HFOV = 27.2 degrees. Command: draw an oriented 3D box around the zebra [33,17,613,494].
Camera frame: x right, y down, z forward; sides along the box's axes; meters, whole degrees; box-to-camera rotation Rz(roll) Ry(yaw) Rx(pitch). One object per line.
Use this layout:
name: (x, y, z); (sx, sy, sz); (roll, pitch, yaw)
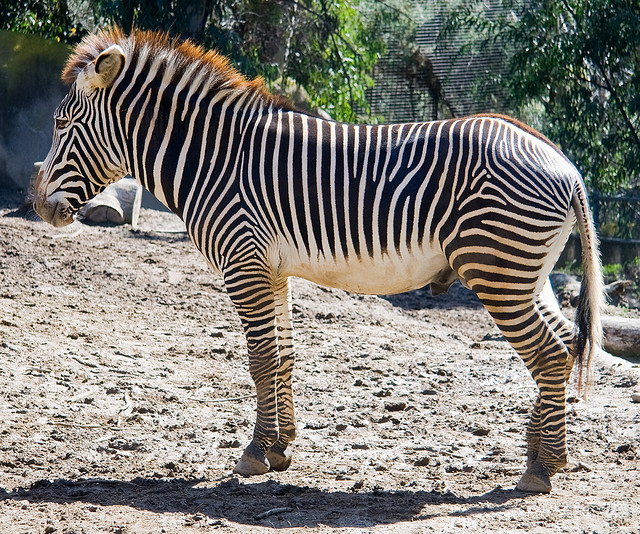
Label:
zebra: (0.002, 0.062, 11.039); (4.608, 3.321, 1.005); (13, 10, 13)
